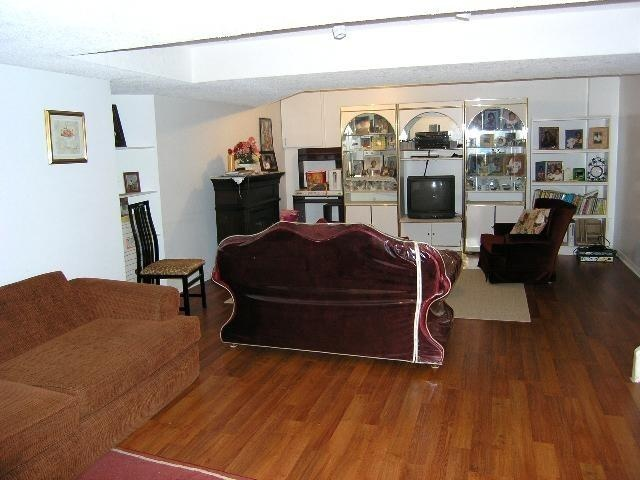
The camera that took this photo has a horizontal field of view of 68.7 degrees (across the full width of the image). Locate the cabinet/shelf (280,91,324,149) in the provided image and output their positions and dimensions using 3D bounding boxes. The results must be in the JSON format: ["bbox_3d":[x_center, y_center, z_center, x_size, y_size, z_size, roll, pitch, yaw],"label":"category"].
[{"bbox_3d":[-0.345,-2.102,8.127,0.759,1.148,1.005,1,9,21],"label":"cabinet/shelf"}]

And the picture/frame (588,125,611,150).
[{"bbox_3d":[4.162,-1.521,6.956,0.347,0.477,0.046,3,-1,17],"label":"picture/frame"}]

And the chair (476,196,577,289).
[{"bbox_3d":[2.563,0.002,6.243,1.147,1.161,0.999,0,9,8],"label":"chair"}]

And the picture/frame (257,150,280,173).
[{"bbox_3d":[-0.856,-1.273,7.572,0.036,0.362,0.495,-6,16,21],"label":"picture/frame"}]

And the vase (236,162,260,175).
[{"bbox_3d":[-1.032,-1.040,6.738,0.296,0.139,0.303,0,5,7],"label":"vase"}]

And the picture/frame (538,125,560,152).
[{"bbox_3d":[3.489,-1.553,7.132,0.414,0.501,0.062,1,3,15],"label":"picture/frame"}]

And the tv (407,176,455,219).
[{"bbox_3d":[1.774,-0.671,7.732,0.932,0.874,0.611,0,5,12],"label":"tv"}]

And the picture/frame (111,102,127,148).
[{"bbox_3d":[-2.290,-1.304,5.316,0.118,0.493,0.514,-8,14,-21],"label":"picture/frame"}]

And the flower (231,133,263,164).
[{"bbox_3d":[-1.072,-1.277,6.706,0.275,0.358,0.526,6,16,33],"label":"flower"}]

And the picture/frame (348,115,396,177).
[{"bbox_3d":[0.874,-1.584,7.634,0.950,1.168,0.025,2,19,9],"label":"picture/frame"}]

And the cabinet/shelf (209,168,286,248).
[{"bbox_3d":[-1.000,-0.431,6.079,0.381,0.941,1.031,3,15,14],"label":"cabinet/shelf"}]

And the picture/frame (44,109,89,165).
[{"bbox_3d":[-2.274,-0.923,4.164,0.057,0.544,0.527,3,5,25],"label":"picture/frame"}]

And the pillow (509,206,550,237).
[{"bbox_3d":[2.714,-0.275,6.041,0.099,0.403,0.417,32,-5,-17],"label":"pillow"}]
